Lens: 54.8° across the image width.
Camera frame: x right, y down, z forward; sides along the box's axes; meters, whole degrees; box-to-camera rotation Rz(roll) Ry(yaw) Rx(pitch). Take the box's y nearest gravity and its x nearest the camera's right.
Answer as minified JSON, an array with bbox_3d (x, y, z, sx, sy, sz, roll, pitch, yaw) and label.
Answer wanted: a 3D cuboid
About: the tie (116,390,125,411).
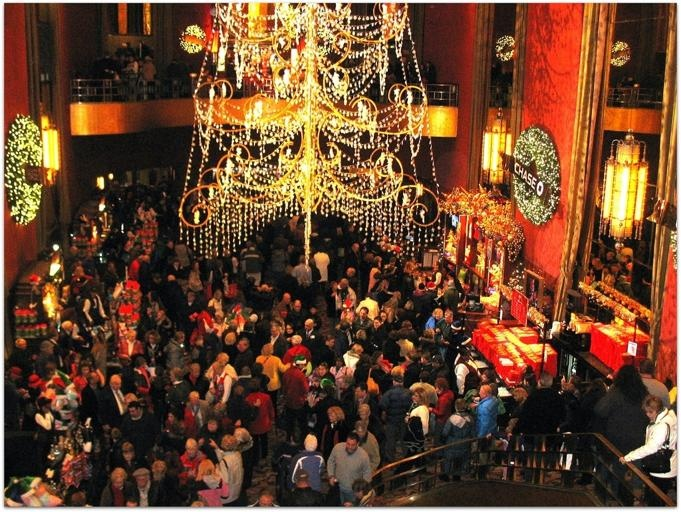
[{"bbox_3d":[-2.681,1.763,8.041,0.066,0.215,0.150,-11,8,-23],"label":"tie"}]

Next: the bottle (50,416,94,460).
[{"bbox_3d":[-3.112,2.135,7.643,0.444,0.340,0.516,-3,5,-24],"label":"bottle"}]

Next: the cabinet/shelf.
[{"bbox_3d":[2.800,-0.026,12.925,0.662,1.846,1.732,-1,10,-4],"label":"cabinet/shelf"}]

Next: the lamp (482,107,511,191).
[{"bbox_3d":[3.335,-2.319,14.178,0.695,1.629,0.735,4,2,-2],"label":"lamp"}]

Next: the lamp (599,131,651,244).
[{"bbox_3d":[3.534,-0.817,8.172,0.647,1.428,0.680,8,11,32],"label":"lamp"}]
